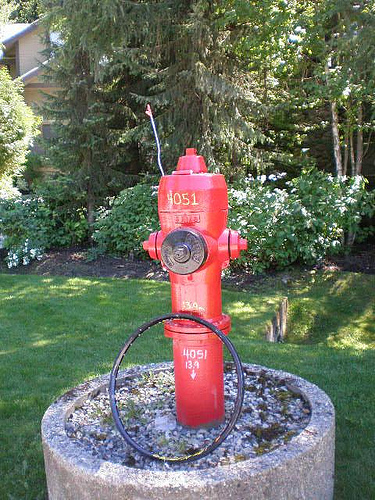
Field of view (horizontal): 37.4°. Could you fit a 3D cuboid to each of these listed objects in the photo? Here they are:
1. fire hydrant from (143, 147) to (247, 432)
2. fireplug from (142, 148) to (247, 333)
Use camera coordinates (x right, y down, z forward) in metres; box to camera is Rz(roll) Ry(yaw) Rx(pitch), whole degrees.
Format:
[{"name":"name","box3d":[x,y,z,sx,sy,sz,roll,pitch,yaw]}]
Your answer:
[{"name":"fire hydrant","box3d":[0.055,0.215,2.737,0.508,1.444,0.454,-2,5,-8]},{"name":"fireplug","box3d":[0.010,-0.053,2.764,0.411,0.902,0.446,3,6,44]}]
